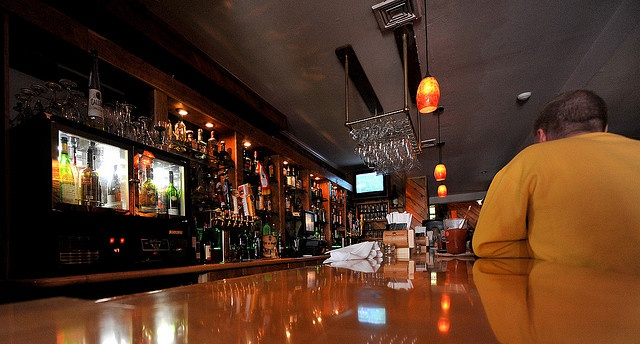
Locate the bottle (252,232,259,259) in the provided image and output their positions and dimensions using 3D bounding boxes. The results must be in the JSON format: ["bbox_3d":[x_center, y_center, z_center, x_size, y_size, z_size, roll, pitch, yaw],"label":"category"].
[{"bbox_3d":[-0.974,1.103,6.239,0.087,0.445,0.375,-1,-15,-9],"label":"bottle"}]

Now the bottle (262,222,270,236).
[{"bbox_3d":[-0.842,0.887,6.477,0.132,0.245,0.320,-1,-16,-8],"label":"bottle"}]

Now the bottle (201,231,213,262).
[{"bbox_3d":[-1.433,0.929,5.172,0.122,0.435,0.174,-4,-15,2],"label":"bottle"}]

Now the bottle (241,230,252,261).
[{"bbox_3d":[-1.088,1.075,6.048,0.151,0.433,0.384,-4,-15,0],"label":"bottle"}]

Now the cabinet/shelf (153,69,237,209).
[{"bbox_3d":[-1.616,-0.441,5.184,0.553,1.558,1.733,-8,-15,24],"label":"cabinet/shelf"}]

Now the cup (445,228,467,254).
[{"bbox_3d":[1.453,0.733,4.330,0.252,0.255,0.251,1,-14,0],"label":"cup"}]

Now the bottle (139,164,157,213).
[{"bbox_3d":[-1.912,0.199,4.600,0.140,0.547,0.222,-4,-15,2],"label":"bottle"}]

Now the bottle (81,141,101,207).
[{"bbox_3d":[-2.325,0.075,4.216,0.118,0.590,0.237,-10,-16,21],"label":"bottle"}]

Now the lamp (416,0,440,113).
[{"bbox_3d":[1.359,-1.329,5.300,0.276,1.348,1.001,-8,-16,15],"label":"lamp"}]

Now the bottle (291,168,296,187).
[{"bbox_3d":[-0.475,0.086,7.383,0.073,0.384,0.199,-3,-15,-1],"label":"bottle"}]

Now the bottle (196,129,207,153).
[{"bbox_3d":[-1.587,-0.427,5.508,0.124,0.436,0.402,0,-16,-12],"label":"bottle"}]

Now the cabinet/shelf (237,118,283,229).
[{"bbox_3d":[-0.957,0.111,6.331,0.464,1.472,1.284,-8,-16,16],"label":"cabinet/shelf"}]

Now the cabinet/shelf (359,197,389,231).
[{"bbox_3d":[1.361,1.013,10.122,0.886,0.765,0.276,1,-8,5],"label":"cabinet/shelf"}]

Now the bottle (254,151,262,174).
[{"bbox_3d":[-0.979,-0.129,6.411,0.130,0.356,0.291,-1,-16,-11],"label":"bottle"}]

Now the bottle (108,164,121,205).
[{"bbox_3d":[-2.195,0.126,4.360,0.125,0.403,0.055,-5,-15,4],"label":"bottle"}]

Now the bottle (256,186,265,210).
[{"bbox_3d":[-0.937,0.398,6.386,0.105,0.390,0.097,-3,-15,-1],"label":"bottle"}]

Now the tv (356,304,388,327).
[{"bbox_3d":[0.328,0.888,2.536,0.183,0.113,0.061,-5,-15,4],"label":"tv"}]

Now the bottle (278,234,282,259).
[{"bbox_3d":[-0.624,1.153,6.515,0.058,0.353,0.099,-7,-15,11],"label":"bottle"}]

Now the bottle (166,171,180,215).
[{"bbox_3d":[-1.712,0.257,4.753,0.122,0.531,0.139,-9,-16,19],"label":"bottle"}]

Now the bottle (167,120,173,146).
[{"bbox_3d":[-1.824,-0.451,4.954,0.054,0.328,0.279,0,-16,-14],"label":"bottle"}]

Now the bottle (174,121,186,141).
[{"bbox_3d":[-1.783,-0.527,5.187,0.126,0.282,0.117,-3,-15,-1],"label":"bottle"}]
